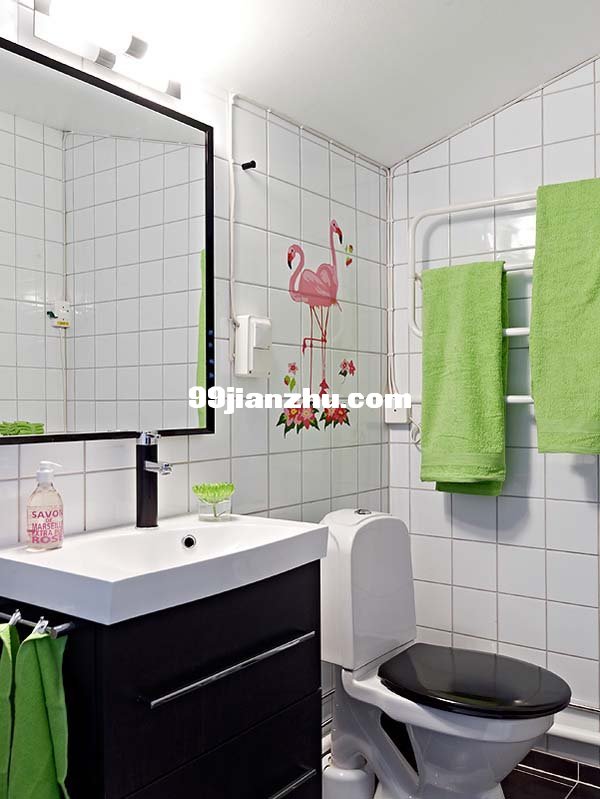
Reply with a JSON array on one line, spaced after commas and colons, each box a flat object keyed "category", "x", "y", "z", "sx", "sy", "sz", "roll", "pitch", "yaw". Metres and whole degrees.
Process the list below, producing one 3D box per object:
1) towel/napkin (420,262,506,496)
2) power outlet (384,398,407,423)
[{"category": "towel/napkin", "x": 0.491, "y": -0.085, "z": 1.935, "sx": 0.261, "sy": 0.651, "sz": 0.139, "roll": -1, "pitch": 1, "yaw": 23}, {"category": "power outlet", "x": 0.337, "y": 0.037, "z": 2.239, "sx": 0.086, "sy": 0.085, "sz": 0.042, "roll": -2, "pitch": 1, "yaw": 8}]
